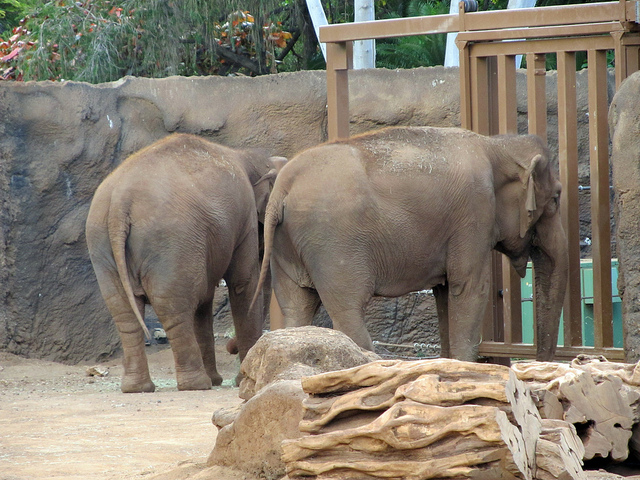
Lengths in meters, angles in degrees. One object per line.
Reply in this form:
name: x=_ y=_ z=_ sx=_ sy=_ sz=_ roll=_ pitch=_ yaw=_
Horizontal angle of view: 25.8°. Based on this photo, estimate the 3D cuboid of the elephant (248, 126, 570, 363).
elephant: x=0.871 y=0.196 z=11.285 sx=2.598 sy=2.314 sz=1.243 roll=-5 pitch=13 yaw=-23

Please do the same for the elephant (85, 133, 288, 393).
elephant: x=-0.911 y=0.148 z=12.657 sx=1.056 sy=2.292 sz=2.799 roll=1 pitch=5 yaw=30
